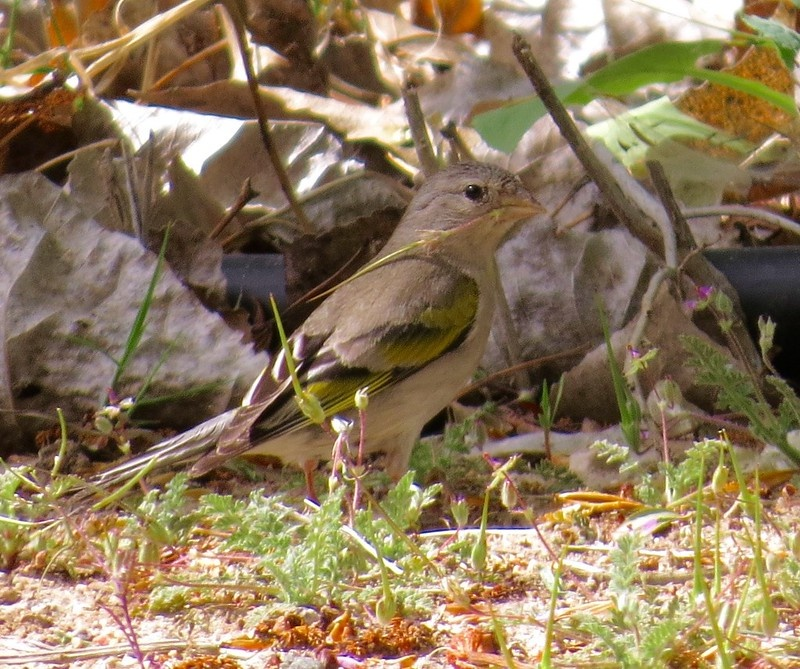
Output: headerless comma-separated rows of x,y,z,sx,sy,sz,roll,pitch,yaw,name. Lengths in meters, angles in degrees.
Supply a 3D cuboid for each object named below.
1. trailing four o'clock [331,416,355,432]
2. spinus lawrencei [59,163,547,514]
-0.094,0.149,2.050,0.038,0.029,0.043,3,-9,-21,trailing four o'clock
-0.230,0.051,2.658,1.073,0.710,0.337,-8,7,-13,spinus lawrencei
